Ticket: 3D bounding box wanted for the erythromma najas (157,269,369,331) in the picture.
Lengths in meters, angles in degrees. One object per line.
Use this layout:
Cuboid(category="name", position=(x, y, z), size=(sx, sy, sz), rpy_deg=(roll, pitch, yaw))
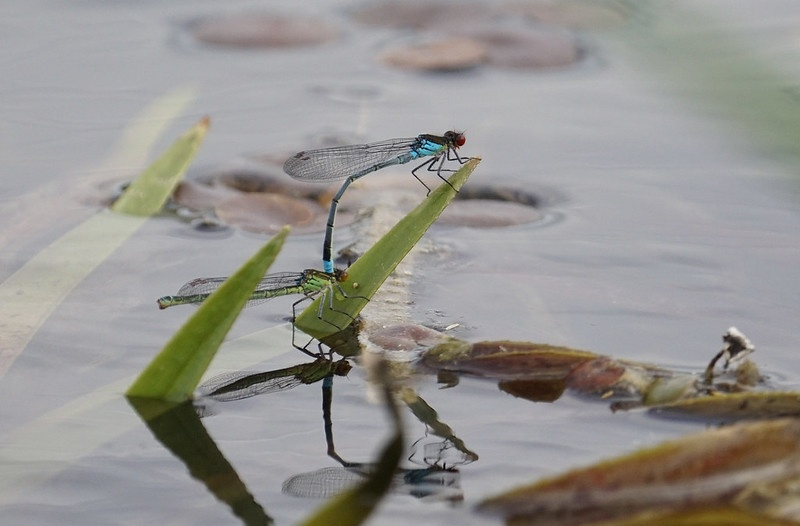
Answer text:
Cuboid(category="erythromma najas", position=(-0.250, 0.079, 2.232), size=(0.349, 0.089, 0.151), rpy_deg=(-19, 23, 23))
